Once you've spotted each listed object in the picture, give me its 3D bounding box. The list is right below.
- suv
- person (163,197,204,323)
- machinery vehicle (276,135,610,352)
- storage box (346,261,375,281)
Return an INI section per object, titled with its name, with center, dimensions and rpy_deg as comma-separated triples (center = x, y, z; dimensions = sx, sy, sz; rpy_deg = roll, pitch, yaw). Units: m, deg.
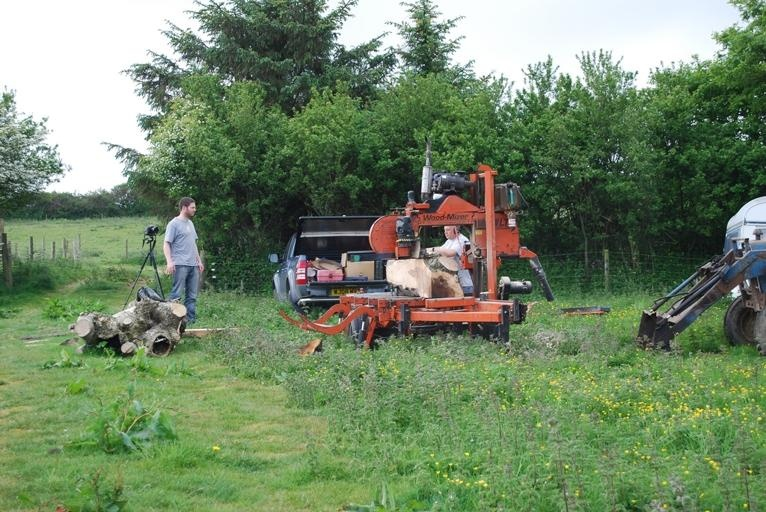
[suv]
center = -1.485, 0.138, 19.093
dimensions = 1.954, 1.625, 3.139
rpy_deg = -1, 8, -14
[person]
center = -4.577, 0.113, 17.105
dimensions = 0.730, 2.972, 1.587
rpy_deg = 0, 0, -4
[machinery vehicle]
center = 1.401, -0.154, 15.549
dimensions = 5.237, 3.103, 3.841
rpy_deg = 0, 0, -17
[storage box]
center = -0.547, 0.378, 18.759
dimensions = 0.745, 0.444, 0.538
rpy_deg = 1, -1, 2
